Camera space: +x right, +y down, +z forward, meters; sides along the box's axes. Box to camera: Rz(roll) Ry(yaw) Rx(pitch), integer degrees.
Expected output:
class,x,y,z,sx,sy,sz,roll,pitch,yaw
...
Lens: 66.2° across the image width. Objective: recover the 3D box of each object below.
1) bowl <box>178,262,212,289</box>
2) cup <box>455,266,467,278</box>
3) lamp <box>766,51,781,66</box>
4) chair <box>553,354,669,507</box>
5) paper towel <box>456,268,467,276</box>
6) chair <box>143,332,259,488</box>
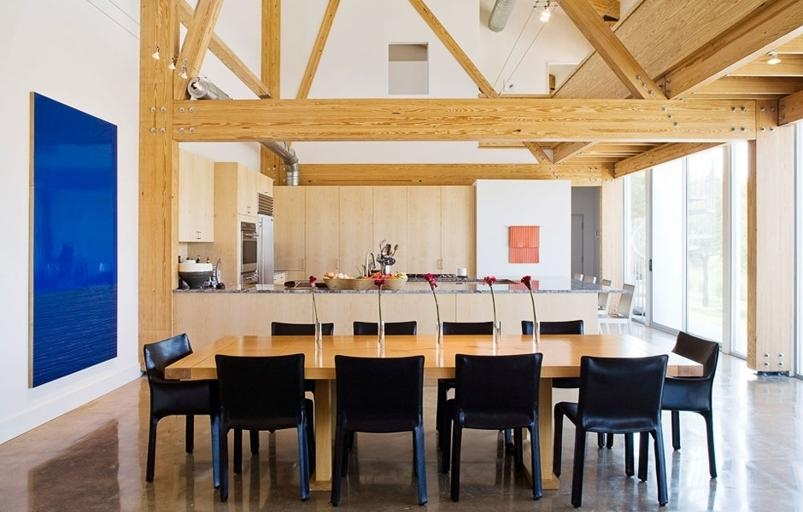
class,x,y,z,sx,sy,sz,roll,pitch,yaw
bowl,-2.899,0.283,8.678,0.397,0.296,0.392,-1,-1,0
cup,1.032,0.293,10.739,0.188,0.128,0.183,2,-1,0
lamp,4.666,-2.468,7.728,0.170,0.062,0.220,0,-5,6
chair,2.062,1.704,6.109,1.099,1.196,0.596,1,0,19
paper towel,1.044,0.285,10.725,0.151,0.100,0.145,2,-1,-1
chair,-2.056,1.644,6.348,1.029,1.646,1.464,0,-4,1
